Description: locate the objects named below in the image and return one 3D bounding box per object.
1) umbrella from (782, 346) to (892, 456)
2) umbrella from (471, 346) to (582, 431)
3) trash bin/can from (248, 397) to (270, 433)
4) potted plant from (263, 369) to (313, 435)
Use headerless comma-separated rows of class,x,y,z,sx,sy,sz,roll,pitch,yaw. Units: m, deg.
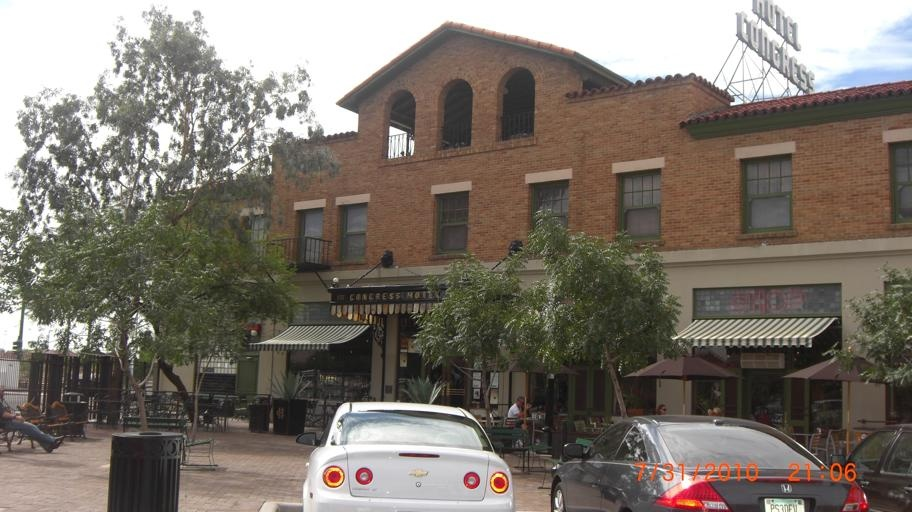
umbrella,13.250,4.799,33.498,3.455,3.106,3.446,-5,12,6
umbrella,2.801,5.674,38.642,3.140,2.290,2.924,-2,-37,8
trash bin/can,-8.463,6.848,42.114,1.196,1.721,1.218,2,-11,-11
potted plant,-7.179,6.432,42.418,2.147,3.832,2.529,0,-5,10
